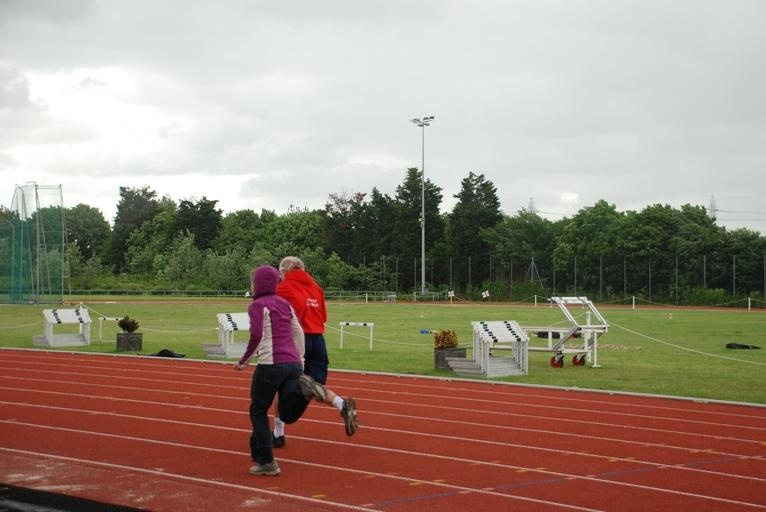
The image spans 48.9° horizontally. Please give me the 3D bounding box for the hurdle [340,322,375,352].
[{"bbox_3d":[-0.988,3.012,31.001,1.226,0.787,0.122,1,0,5],"label":"hurdle"}]

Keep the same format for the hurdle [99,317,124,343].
[{"bbox_3d":[-10.240,2.828,31.730,1.141,0.603,0.085,2,2,23],"label":"hurdle"}]

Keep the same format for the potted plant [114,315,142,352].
[{"bbox_3d":[-8.320,2.538,27.841,0.955,1.117,0.902,-2,-5,25],"label":"potted plant"}]

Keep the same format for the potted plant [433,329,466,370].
[{"bbox_3d":[1.676,2.664,23.633,1.247,1.321,0.931,3,-6,-39],"label":"potted plant"}]
